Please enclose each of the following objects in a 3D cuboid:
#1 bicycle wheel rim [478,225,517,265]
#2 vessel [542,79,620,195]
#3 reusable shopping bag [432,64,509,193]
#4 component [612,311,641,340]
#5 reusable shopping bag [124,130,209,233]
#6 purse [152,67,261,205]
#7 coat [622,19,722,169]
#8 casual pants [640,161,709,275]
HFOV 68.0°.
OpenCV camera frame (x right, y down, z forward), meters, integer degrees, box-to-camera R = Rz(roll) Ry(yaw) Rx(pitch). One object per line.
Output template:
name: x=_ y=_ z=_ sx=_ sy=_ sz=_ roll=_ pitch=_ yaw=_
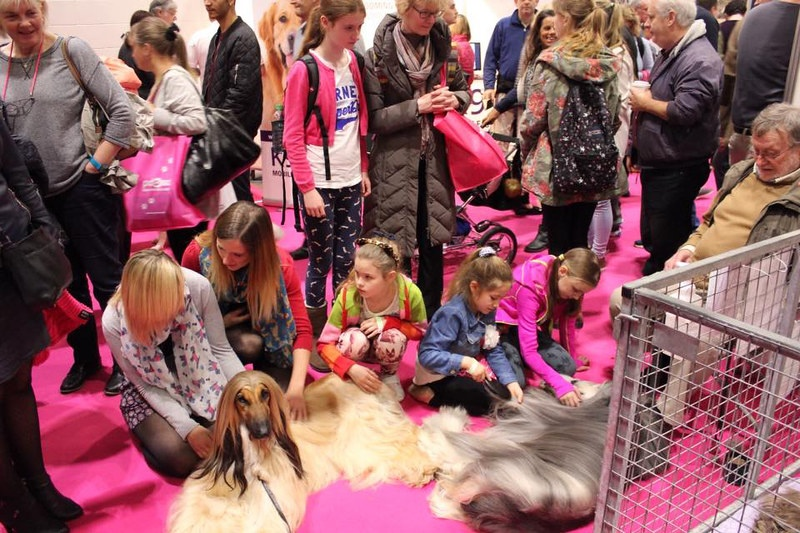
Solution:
bicycle wheel rim: x=0.730 y=-0.162 z=4.452 sx=0.284 sy=0.289 sz=0.094 roll=12 pitch=7 yaw=-45
vessel: x=1.166 y=-0.779 z=3.745 sx=0.390 sy=0.700 sz=0.254 roll=-3 pitch=5 yaw=-6
reusable shopping bag: x=0.454 y=-0.760 z=3.832 sx=0.239 sy=0.523 sz=0.413 roll=-14 pitch=17 yaw=48
component: x=0.791 y=0.214 z=2.076 sx=0.086 sy=0.114 sz=0.044 roll=6 pitch=22 yaw=28
reusable shopping bag: x=-1.476 y=-0.553 z=3.685 sx=0.596 sy=0.659 sz=0.267 roll=-2 pitch=2 yaw=-7
purse: x=-1.271 y=-0.862 z=3.821 sx=0.725 sy=0.741 sz=0.377 roll=28 pitch=16 yaw=-2
coat: x=1.954 y=-1.202 z=4.228 sx=0.529 sy=0.976 sz=0.955 roll=-6 pitch=22 yaw=5
casual pants: x=1.885 y=-0.447 z=4.304 sx=0.292 sy=0.946 sz=0.401 roll=-4 pitch=37 yaw=6
